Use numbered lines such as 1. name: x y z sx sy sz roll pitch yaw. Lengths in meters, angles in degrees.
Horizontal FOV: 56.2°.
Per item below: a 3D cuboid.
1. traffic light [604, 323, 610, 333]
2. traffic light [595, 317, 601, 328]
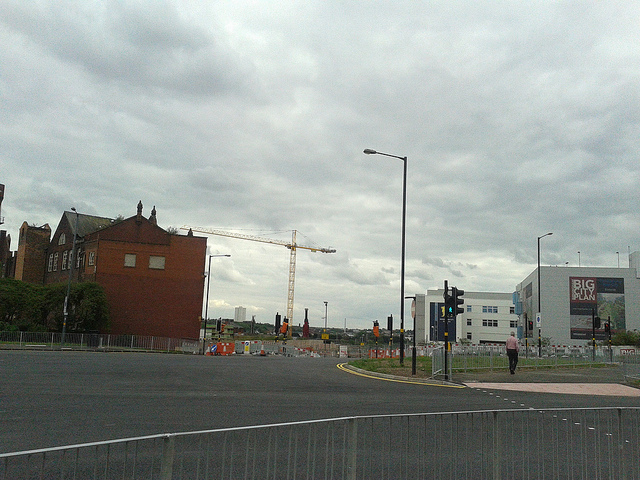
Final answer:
1. traffic light: 16.925 5.119 35.226 0.199 0.515 0.978 -2 -13 24
2. traffic light: 16.348 4.836 35.265 0.229 0.603 0.961 -3 -13 28
